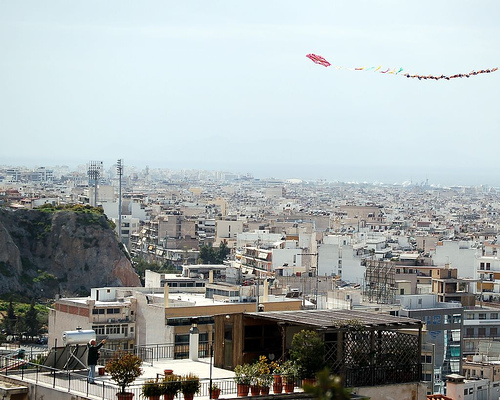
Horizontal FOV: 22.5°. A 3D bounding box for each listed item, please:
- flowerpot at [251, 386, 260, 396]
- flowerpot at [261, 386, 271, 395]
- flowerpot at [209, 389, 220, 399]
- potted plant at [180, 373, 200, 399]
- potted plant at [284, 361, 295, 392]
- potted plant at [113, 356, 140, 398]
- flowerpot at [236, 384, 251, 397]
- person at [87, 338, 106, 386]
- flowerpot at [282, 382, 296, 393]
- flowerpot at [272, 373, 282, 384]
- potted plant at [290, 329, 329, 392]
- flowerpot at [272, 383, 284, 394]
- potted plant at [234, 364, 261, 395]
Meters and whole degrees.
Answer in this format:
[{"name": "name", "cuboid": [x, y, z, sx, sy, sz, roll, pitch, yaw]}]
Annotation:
[{"name": "flowerpot", "cuboid": [0.168, 5.654, 37.154, 0.226, 0.226, 0.197, -4, 6, -41]}, {"name": "flowerpot", "cuboid": [0.448, 5.651, 37.191, 0.232, 0.219, 0.084, 1, -2, -24]}, {"name": "flowerpot", "cuboid": [-0.998, 5.718, 36.899, 0.226, 0.190, 0.237, 2, -2, -16]}, {"name": "potted plant", "cuboid": [-1.685, 5.423, 36.482, 0.541, 0.738, 0.639, -1, 5, -13]}, {"name": "potted plant", "cuboid": [1.157, 5.317, 37.598, 0.289, 0.830, 0.307, 0, -2, 1]}, {"name": "potted plant", "cuboid": [-3.521, 5.105, 36.361, 0.917, 1.307, 0.981, -3, 3, -12]}, {"name": "flowerpot", "cuboid": [-0.191, 5.634, 37.132, 0.298, 0.242, 0.296, 2, -2, 41]}, {"name": "person", "cuboid": [-4.510, 4.860, 37.822, 0.710, 1.406, 0.732, -6, -11, 44]}, {"name": "flowerpot", "cuboid": [1.125, 5.605, 37.477, 0.248, 0.191, 0.249, 1, 2, -21]}, {"name": "flowerpot", "cuboid": [0.796, 5.285, 37.444, 0.317, 0.326, 0.182, 1, 3, 3]}, {"name": "potted plant", "cuboid": [1.774, 4.720, 38.269, 1.135, 1.548, 3.012, 0, -2, 2]}, {"name": "flowerpot", "cuboid": [0.837, 5.608, 37.406, 0.285, 0.295, 0.145, 1, -2, -17]}, {"name": "potted plant", "cuboid": [-0.110, 5.394, 37.453, 0.908, 1.091, 0.754, 1, 5, 6]}]
